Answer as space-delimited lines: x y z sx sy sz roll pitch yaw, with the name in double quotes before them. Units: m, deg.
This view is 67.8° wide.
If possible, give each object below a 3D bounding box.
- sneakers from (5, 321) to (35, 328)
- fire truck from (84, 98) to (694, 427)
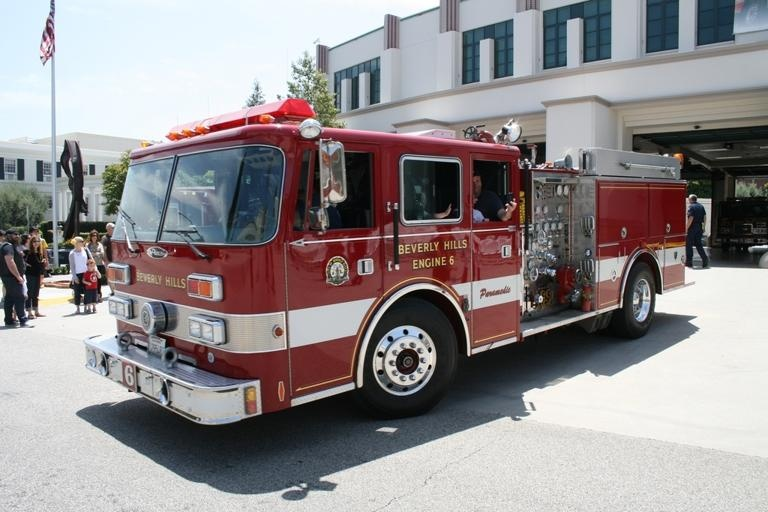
"sneakers" -7.793 1.472 12.209 0.333 0.139 0.116 1 -3 -1
"fire truck" 1.067 -0.314 9.061 10.358 3.902 3.172 -9 13 -37
